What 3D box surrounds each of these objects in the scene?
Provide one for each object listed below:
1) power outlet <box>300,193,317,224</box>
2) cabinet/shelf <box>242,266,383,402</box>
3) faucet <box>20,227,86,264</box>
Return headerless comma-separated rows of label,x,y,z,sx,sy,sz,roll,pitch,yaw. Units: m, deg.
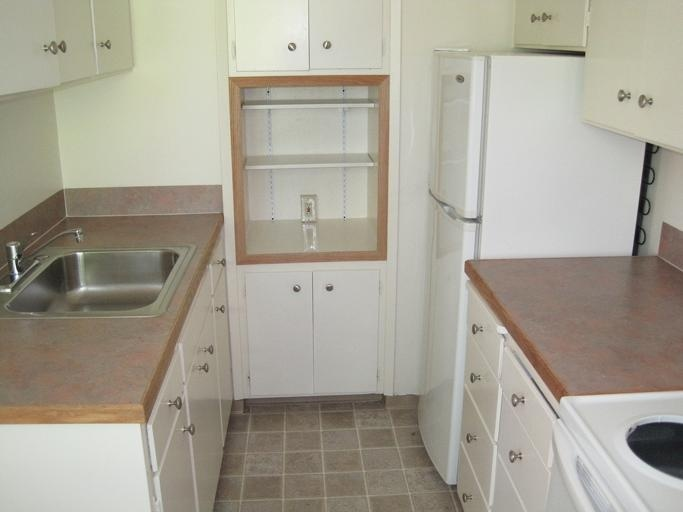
power outlet,-0.191,-0.284,3.178,0.094,0.156,0.084,-1,17,-5
cabinet/shelf,-0.161,0.387,3.107,0.762,0.783,0.287,-1,19,-8
faucet,-1.226,-0.041,2.303,0.388,0.163,0.095,5,16,16
